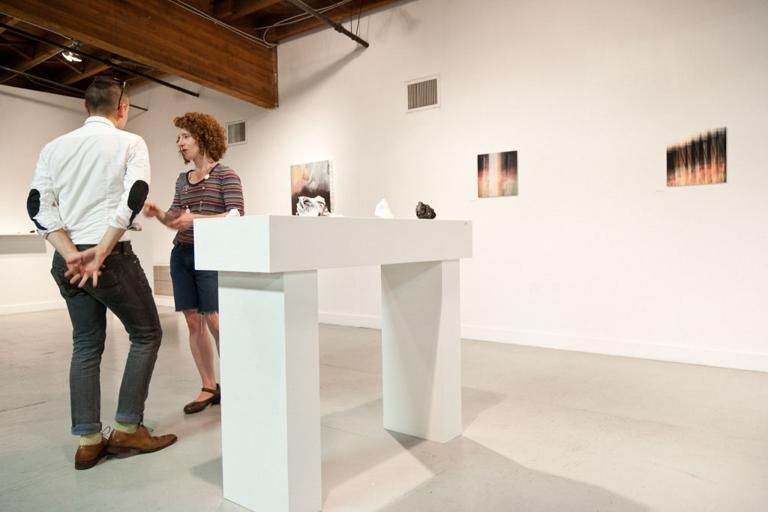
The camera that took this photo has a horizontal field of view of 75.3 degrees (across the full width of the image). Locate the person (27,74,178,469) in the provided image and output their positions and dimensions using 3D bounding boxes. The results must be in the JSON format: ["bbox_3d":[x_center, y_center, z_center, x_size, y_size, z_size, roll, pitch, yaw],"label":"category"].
[{"bbox_3d":[-2.036,0.070,3.574,0.734,2.673,0.794,-8,13,-34],"label":"person"}]

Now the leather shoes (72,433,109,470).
[{"bbox_3d":[-2.035,1.375,3.505,0.112,0.144,0.318,0,2,6],"label":"leather shoes"}]

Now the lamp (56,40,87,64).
[{"bbox_3d":[-4.653,-3.063,7.437,0.239,0.287,0.515,-7,13,-28],"label":"lamp"}]

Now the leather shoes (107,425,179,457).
[{"bbox_3d":[-1.770,1.340,3.691,0.521,0.254,0.180,3,-6,-30],"label":"leather shoes"}]
